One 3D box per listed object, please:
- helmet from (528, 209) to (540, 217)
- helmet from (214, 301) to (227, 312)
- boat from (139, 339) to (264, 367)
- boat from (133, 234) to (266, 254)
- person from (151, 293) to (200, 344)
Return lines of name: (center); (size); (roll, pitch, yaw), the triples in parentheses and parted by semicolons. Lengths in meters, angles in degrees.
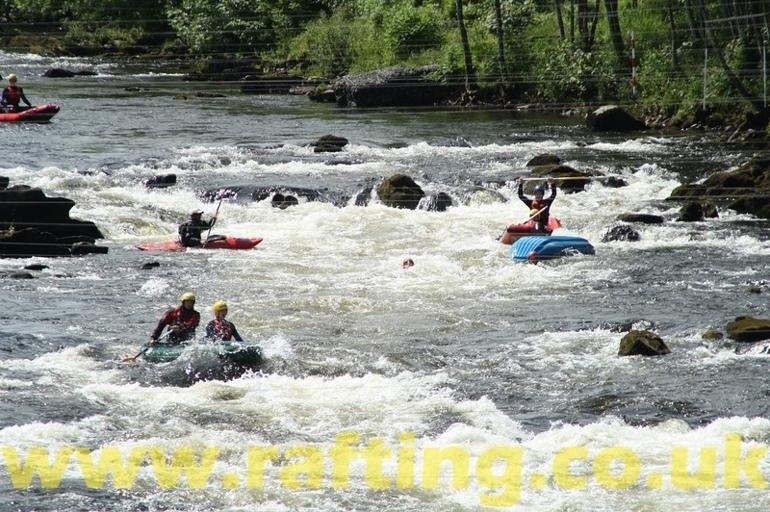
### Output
helmet: (4.078, -1.148, 43.144); (0.216, 0.106, 0.212); (-32, 3, -31)
helmet: (-3.964, 1.227, 37.435); (0.294, 0.229, 0.351); (-6, 12, -8)
boat: (-4.307, 2.348, 37.074); (2.767, 0.585, 0.407); (-3, 13, 5)
boat: (-5.010, -0.292, 42.844); (3.139, 0.388, 0.745); (-3, 11, 1)
person: (-5.087, 1.582, 37.947); (0.736, 1.031, 1.584); (6, -6, -5)
